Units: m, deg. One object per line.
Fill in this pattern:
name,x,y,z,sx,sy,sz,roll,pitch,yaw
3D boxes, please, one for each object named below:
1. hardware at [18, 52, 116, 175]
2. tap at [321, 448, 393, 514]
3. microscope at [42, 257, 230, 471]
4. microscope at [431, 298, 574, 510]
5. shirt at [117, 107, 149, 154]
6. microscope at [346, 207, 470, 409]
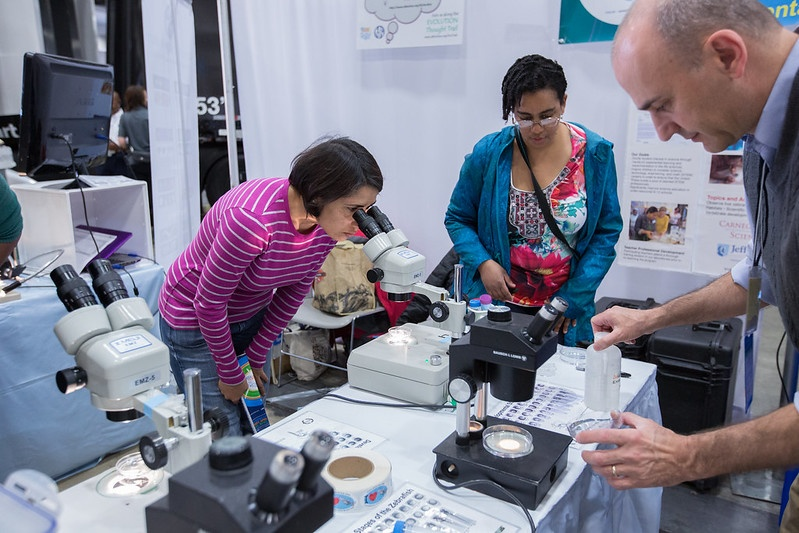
hardware,-1.933,-0.870,2.998,0.332,0.627,0.560,3,15,14
tap,-0.121,0.625,1.519,0.205,0.077,0.211,0,16,3
microscope,-0.743,0.283,1.392,0.545,0.506,0.242,10,18,35
microscope,0.329,0.397,1.632,0.341,0.563,0.358,6,11,28
shirt,-2.789,-1.423,5.414,0.326,0.477,0.115,2,15,10
microscope,0.056,0.134,2.033,0.453,0.684,0.401,7,21,23
